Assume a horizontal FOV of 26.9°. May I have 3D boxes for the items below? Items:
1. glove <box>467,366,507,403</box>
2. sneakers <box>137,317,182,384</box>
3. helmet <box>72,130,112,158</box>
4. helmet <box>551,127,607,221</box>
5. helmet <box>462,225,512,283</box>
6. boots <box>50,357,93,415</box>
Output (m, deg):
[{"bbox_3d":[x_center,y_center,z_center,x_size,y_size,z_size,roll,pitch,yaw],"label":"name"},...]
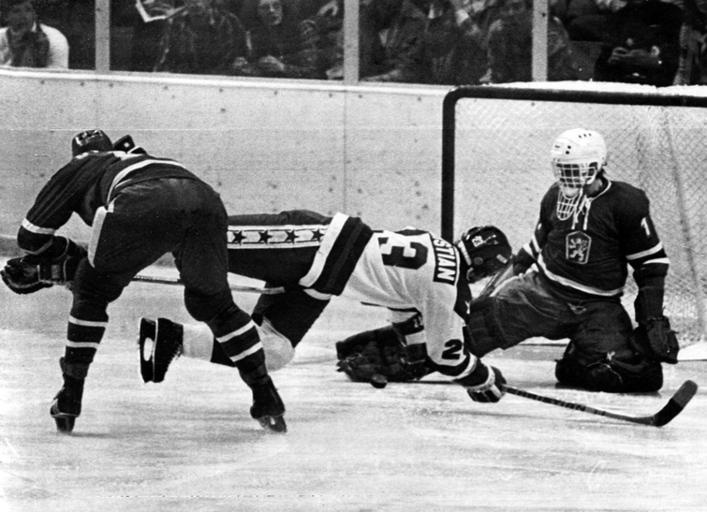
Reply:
[{"bbox_3d":[0.653,0.619,7.049,0.240,0.071,0.159,2,11,10],"label":"glove"},{"bbox_3d":[-0.880,0.421,6.695,0.188,0.313,0.132,3,-3,-14],"label":"sneakers"},{"bbox_3d":[-1.217,-0.534,6.873,0.189,0.107,0.168,-3,-7,8],"label":"helmet"},{"bbox_3d":[1.152,-0.414,7.602,0.265,0.470,0.198,5,13,13],"label":"helmet"},{"bbox_3d":[0.667,-0.027,7.140,0.291,0.201,0.261,4,46,22],"label":"helmet"},{"bbox_3d":[-1.243,0.579,6.448,0.120,0.227,0.145,3,12,5],"label":"boots"}]
